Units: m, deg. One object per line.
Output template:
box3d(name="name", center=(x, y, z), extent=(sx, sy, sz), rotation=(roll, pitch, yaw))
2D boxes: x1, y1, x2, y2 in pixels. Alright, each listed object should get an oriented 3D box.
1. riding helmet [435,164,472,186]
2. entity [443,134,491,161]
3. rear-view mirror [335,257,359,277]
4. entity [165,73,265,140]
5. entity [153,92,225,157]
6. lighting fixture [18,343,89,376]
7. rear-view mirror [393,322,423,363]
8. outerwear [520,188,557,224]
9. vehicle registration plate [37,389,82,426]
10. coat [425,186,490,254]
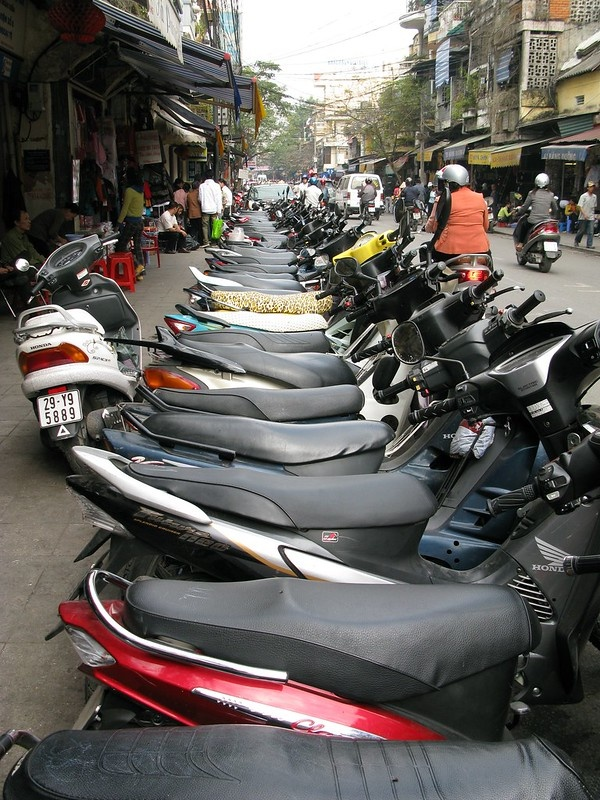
box3d(name="riding helmet", center=(1.882, -2.791, 7.347), extent=(0.341, 0.297, 0.518), rotation=(3, 13, 12))
box3d(name="entity", center=(9.810, -15.138, 35.593), extent=(2.136, 1.088, 2.136), rotation=(-28, 23, -29))
box3d(name="rear-view mirror", center=(0.290, -0.831, 3.711), extent=(0.143, 0.041, 0.141), rotation=(15, 4, -36))
box3d(name="entity", center=(-2.223, -7.250, 14.127), extent=(2.606, 1.591, 2.462), rotation=(7, 30, -1))
box3d(name="entity", center=(-3.665, -10.322, 23.055), extent=(1.665, 1.646, 4.283), rotation=(-9, 25, 5))
box3d(name="lighting fixture", center=(-1.508, -0.258, 3.622), extent=(0.218, 0.113, 0.285), rotation=(-13, 11, 25))
box3d(name="rear-view mirror", center=(0.466, -0.243, 2.562), extent=(0.043, 0.176, 0.132), rotation=(-5, -2, -43))
box3d(name="outerwear", center=(5.860, -4.715, 14.571), extent=(0.802, 0.744, 1.159), rotation=(0, 35, 8))
box3d(name="vehicle registration plate", center=(-1.456, 0.042, 3.593), extent=(0.206, 0.142, 0.026), rotation=(-12, -2, -11))
box3d(name="coat", center=(2.072, -2.201, 7.558), extent=(0.796, 0.775, 1.203), rotation=(-2, 33, 4))
